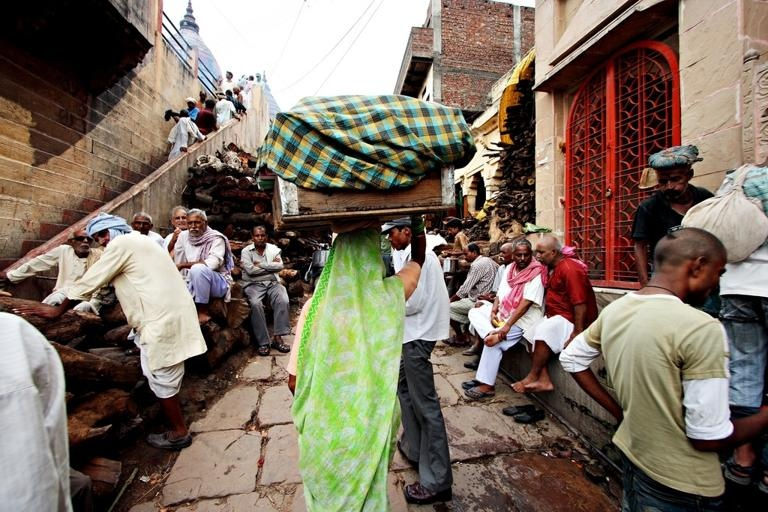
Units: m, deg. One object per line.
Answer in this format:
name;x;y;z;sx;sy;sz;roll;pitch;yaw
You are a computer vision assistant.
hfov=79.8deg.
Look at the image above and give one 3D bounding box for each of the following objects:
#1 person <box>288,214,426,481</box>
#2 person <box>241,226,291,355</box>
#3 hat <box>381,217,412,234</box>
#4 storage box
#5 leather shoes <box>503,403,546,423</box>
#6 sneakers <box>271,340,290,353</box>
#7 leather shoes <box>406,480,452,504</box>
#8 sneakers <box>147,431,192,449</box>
person;-0.025;0.367;4.114;0.905;1.463;1.496;1;0;30
person;-1.941;0.540;7.531;0.752;2.028;0.798;0;0;-17
hat;0.124;-0.303;4.652;0.202;0.071;0.130;-11;-9;8
storage box;-0.138;-0.450;3.596;1.386;0.473;0.156;0;0;-6
leather shoes;1.717;1.903;5.568;0.293;0.086;0.226;1;6;-14
sneakers;-1.664;1.459;7.400;0.333;0.127;0.133;4;14;41
leather shoes;0.437;2.354;4.544;0.471;0.181;0.121;0;0;3
sneakers;-2.416;2.065;5.234;0.487;0.194;0.188;7;-14;-4
